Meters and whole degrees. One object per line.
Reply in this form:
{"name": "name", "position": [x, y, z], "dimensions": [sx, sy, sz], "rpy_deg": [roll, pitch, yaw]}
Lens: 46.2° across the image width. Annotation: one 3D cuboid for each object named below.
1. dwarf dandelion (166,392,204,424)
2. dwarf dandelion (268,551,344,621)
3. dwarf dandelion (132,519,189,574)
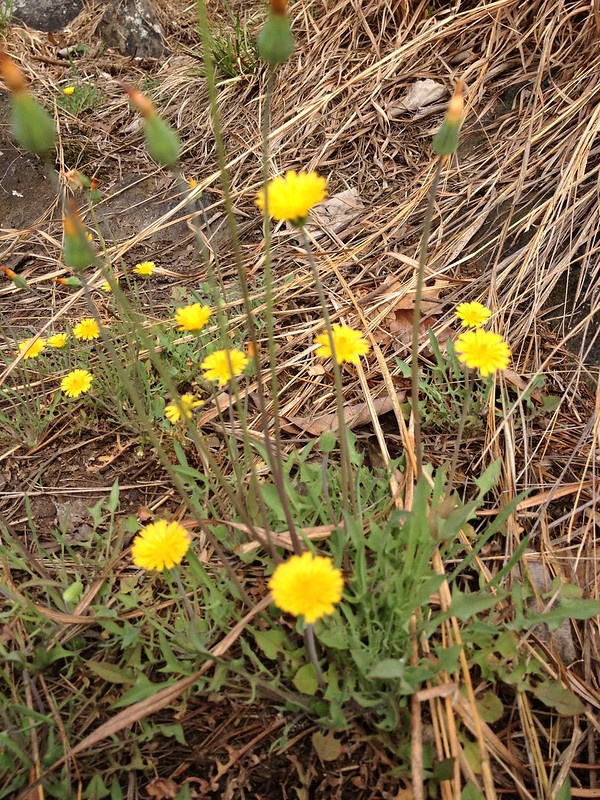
{"name": "dwarf dandelion", "position": [-0.266, 0.021, 1.614], "dimensions": [0.076, 0.037, 0.071], "rpy_deg": [22, 91, 17]}
{"name": "dwarf dandelion", "position": [0.009, 0.281, 1.057], "dimensions": [0.101, 0.064, 0.113], "rpy_deg": [16, 55, 13]}
{"name": "dwarf dandelion", "position": [-0.241, 0.250, 1.258], "dimensions": [0.111, 0.041, 0.101], "rpy_deg": [6, 49, 2]}
